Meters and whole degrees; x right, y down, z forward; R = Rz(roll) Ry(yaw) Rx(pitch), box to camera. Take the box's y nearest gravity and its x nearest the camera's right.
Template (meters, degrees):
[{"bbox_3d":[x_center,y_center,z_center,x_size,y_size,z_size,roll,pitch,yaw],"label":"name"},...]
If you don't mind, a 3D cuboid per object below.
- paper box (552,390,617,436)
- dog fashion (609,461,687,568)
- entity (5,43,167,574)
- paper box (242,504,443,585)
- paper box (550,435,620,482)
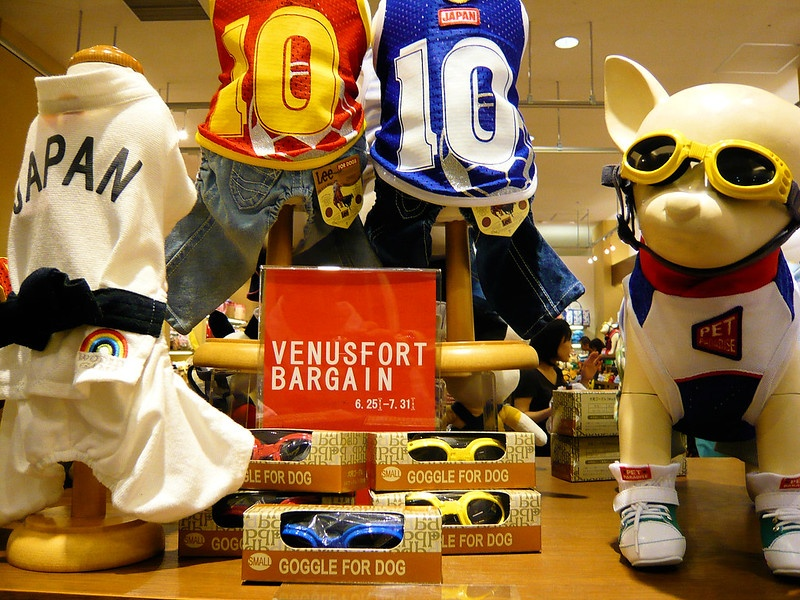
[{"bbox_3d":[0.545,0.325,2.340,0.221,0.117,0.237,-2,-7,28],"label":"paper box"},{"bbox_3d":[0.528,0.442,1.708,0.140,0.178,0.406,-12,0,18],"label":"dog fashion"},{"bbox_3d":[-0.645,-0.011,1.654,0.274,1.028,0.286,1,0,-40],"label":"entity"},{"bbox_3d":[-0.106,0.464,1.515,0.368,0.112,0.037,1,0,2],"label":"paper box"},{"bbox_3d":[0.557,0.457,2.372,0.234,0.131,0.240,9,-12,-35],"label":"paper box"}]
